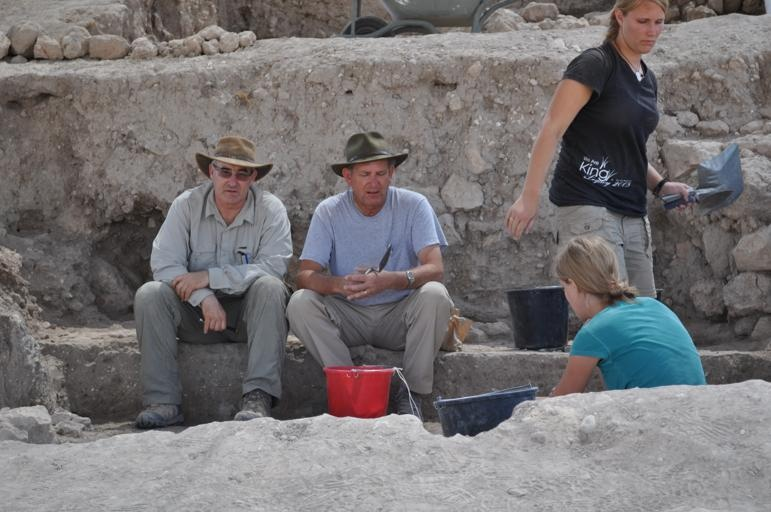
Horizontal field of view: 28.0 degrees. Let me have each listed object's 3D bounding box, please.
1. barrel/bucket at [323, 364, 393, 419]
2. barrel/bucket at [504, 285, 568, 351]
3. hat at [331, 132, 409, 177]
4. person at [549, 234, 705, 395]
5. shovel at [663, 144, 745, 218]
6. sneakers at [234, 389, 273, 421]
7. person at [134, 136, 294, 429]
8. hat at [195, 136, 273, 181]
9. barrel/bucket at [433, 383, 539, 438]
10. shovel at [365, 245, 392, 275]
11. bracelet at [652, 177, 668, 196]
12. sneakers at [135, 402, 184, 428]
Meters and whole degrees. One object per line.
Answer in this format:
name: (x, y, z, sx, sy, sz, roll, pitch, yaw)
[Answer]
barrel/bucket: (-0.216, 1.000, 11.536, 0.424, 0.271, 0.391, 1, -5, 0)
barrel/bucket: (1.215, 0.496, 12.312, 0.517, 0.393, 0.482, -6, -7, -1)
hat: (-0.140, -0.817, 12.168, 0.584, 0.344, 0.381, 0, 8, -2)
person: (1.525, 0.549, 11.190, 1.012, 1.252, 1.077, -18, 16, -40)
shovel: (2.565, -0.585, 12.038, 0.668, 0.453, 0.174, -21, -36, 26)
sneakers: (-1.002, 1.129, 11.797, 0.296, 0.251, 0.510, -1, 8, -4)
person: (-1.346, 0.167, 12.015, 1.207, 2.158, 0.893, -1, 9, -4)
hat: (-1.214, -0.815, 12.342, 0.645, 0.244, 0.665, 4, -8, 2)
barrel/bucket: (0.667, 1.089, 10.962, 0.502, 0.221, 0.426, 8, -19, -38)
shovel: (-0.063, 0.004, 11.986, 0.194, 0.211, 0.330, 0, 8, 3)
bracelet: (2.095, -0.542, 11.872, 0.075, 0.116, 0.108, 44, 38, 22)
sneakers: (-1.746, 1.209, 11.837, 0.147, 0.161, 0.367, -1, -9, 43)
